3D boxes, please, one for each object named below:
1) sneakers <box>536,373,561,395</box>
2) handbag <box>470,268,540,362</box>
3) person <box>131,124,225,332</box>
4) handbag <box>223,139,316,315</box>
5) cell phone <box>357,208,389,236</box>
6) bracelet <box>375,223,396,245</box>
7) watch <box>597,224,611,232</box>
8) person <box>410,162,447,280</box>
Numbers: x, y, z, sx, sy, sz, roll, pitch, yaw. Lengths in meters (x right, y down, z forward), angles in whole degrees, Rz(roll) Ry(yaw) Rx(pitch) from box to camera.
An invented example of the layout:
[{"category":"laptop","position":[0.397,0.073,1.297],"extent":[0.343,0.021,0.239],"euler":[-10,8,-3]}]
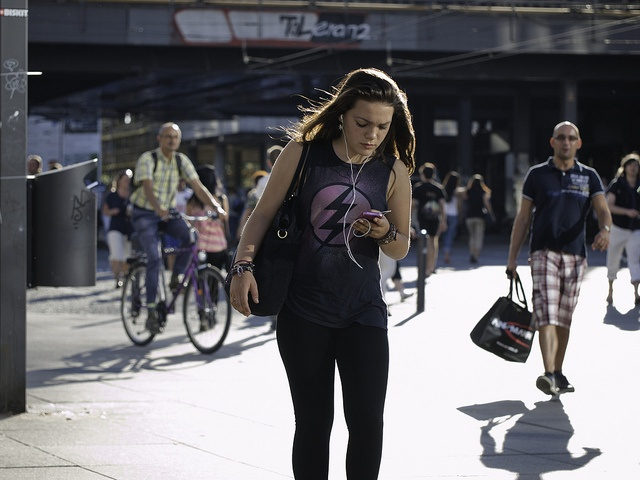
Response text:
[{"category":"sneakers","position":[1.949,1.240,7.987],"extent":[0.228,0.210,0.143],"euler":[-4,7,-36]},{"category":"handbag","position":[1.833,0.779,9.298],"extent":[0.561,0.888,0.286],"euler":[27,9,2]},{"category":"person","position":[-1.587,-0.127,9.950],"extent":[0.728,2.219,0.591],"euler":[-3,6,-34]},{"category":"handbag","position":[-0.303,-0.059,5.443],"extent":[0.477,0.993,0.218],"euler":[1,5,-2]},{"category":"cell phone","position":[0.323,-0.091,5.446],"extent":[0.195,0.159,0.117],"euler":[-2,6,-25]},{"category":"bracelet","position":[0.398,-0.016,5.492],"extent":[0.046,0.118,0.109],"euler":[41,5,29]},{"category":"watch","position":[2.458,-0.092,8.123],"extent":[0.081,0.053,0.081],"euler":[11,-10,-35]},{"category":"person","position":[1.879,-0.305,16.133],"extent":[0.573,1.962,1.273],"euler":[1,5,6]}]
